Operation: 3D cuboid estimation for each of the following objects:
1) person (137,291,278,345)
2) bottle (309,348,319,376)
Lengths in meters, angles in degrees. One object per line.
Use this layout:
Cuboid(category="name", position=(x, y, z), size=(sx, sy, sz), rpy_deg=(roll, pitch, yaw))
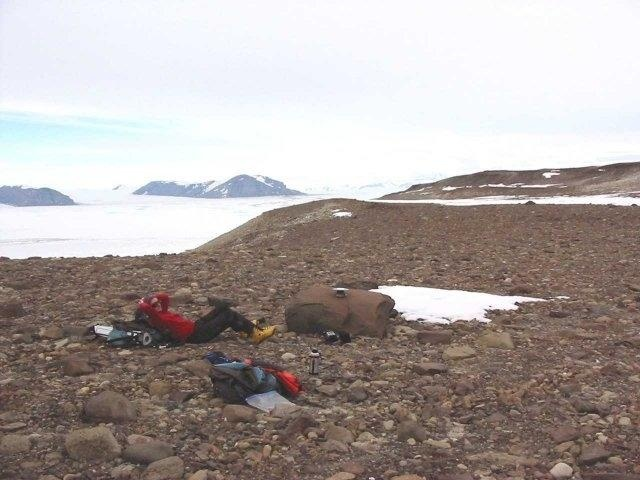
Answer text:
Cuboid(category="person", position=(-2.461, 1.734, 10.309), size=(3.141, 0.786, 1.032), rpy_deg=(4, 4, -19))
Cuboid(category="bottle", position=(-0.112, 2.360, 9.239), size=(0.195, 0.462, 0.412), rpy_deg=(-1, 4, -1))
